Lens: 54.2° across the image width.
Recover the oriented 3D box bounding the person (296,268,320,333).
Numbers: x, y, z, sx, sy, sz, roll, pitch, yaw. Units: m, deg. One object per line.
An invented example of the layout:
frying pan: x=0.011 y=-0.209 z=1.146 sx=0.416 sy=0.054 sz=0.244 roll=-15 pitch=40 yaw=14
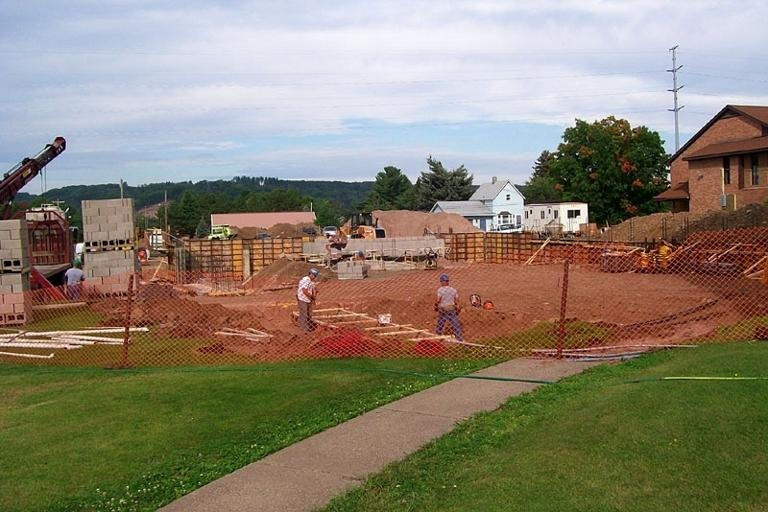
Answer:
person: x=-2.178 y=1.322 z=21.313 sx=0.820 sy=1.943 sz=0.757 roll=-1 pitch=34 yaw=-1

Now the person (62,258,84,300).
person: x=-10.382 y=0.843 z=24.897 sx=0.563 sy=1.484 sz=0.462 roll=6 pitch=26 yaw=-23

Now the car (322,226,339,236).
car: x=-5.049 y=-2.274 z=67.952 sx=1.174 sy=0.807 sz=2.270 roll=-2 pitch=-1 yaw=-4
